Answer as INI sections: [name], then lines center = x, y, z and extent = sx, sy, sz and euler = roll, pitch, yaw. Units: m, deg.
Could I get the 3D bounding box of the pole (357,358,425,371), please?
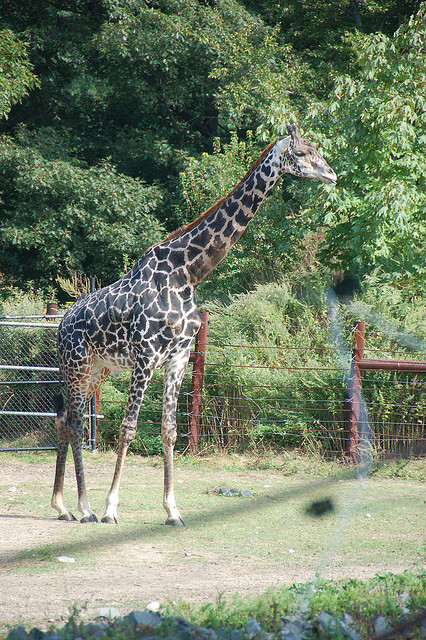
[pole]
center = 2.132, 0.547, 14.745
extent = 0.884, 0.161, 0.144
euler = 6, 10, 39

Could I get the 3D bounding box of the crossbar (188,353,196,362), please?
[crossbar]
center = -0.295, 0.475, 15.759
extent = 0.099, 0.105, 0.109
euler = 1, -1, -30
